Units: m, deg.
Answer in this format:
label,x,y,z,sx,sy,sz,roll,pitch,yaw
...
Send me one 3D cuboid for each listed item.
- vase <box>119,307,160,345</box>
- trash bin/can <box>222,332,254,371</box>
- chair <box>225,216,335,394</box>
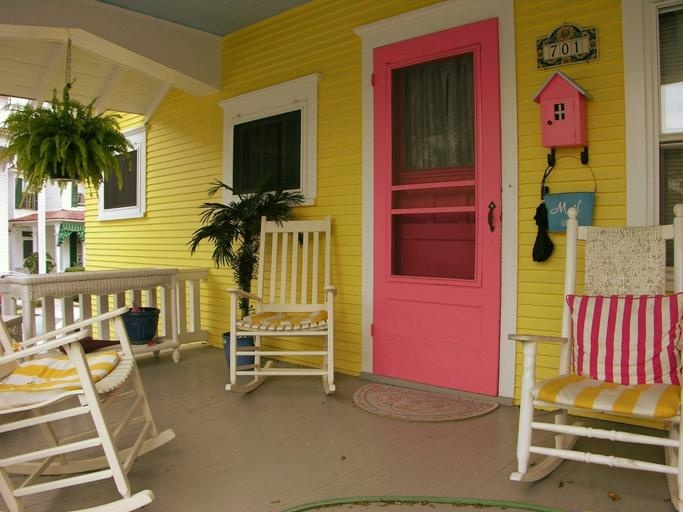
label,x,y,z,sx,sy,sz,roll,pitch,yaw
vase,-2.022,0.698,5.496,0.391,0.308,0.380,-2,1,7
trash bin/can,-1.020,0.867,5.167,0.395,0.318,0.382,0,-4,3
chair,-0.543,0.393,5.018,0.961,1.475,1.475,-1,9,-3
